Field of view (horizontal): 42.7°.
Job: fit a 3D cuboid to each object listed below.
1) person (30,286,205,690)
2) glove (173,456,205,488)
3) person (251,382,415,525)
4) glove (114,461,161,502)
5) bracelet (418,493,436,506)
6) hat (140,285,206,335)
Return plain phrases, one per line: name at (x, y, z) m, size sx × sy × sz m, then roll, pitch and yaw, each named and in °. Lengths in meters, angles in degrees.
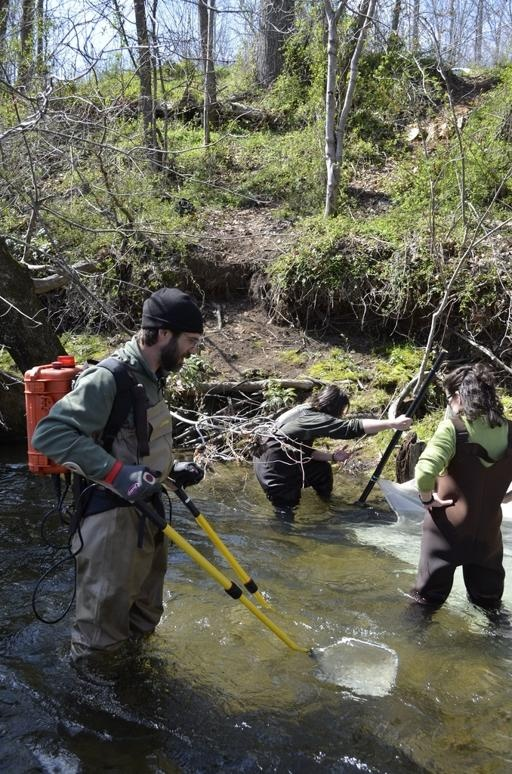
person at (-0.662, 0.523, 3.360) m, size 0.627 × 2.043 × 0.833 m, roll 5°, pitch 11°, yaw 15°
glove at (-0.360, 0.495, 3.755) m, size 0.186 × 0.068 × 0.126 m, roll 18°, pitch 33°, yaw -26°
person at (0.583, 0.609, 6.006) m, size 0.743 × 1.242 × 1.377 m, roll -3°, pitch 11°, yaw -26°
glove at (-0.542, 0.437, 2.970) m, size 0.206 × 0.138 × 0.135 m, roll 0°, pitch 10°, yaw -11°
bracelet at (1.055, 0.705, 4.025) m, size 0.085 × 0.032 × 0.073 m, roll -33°, pitch 19°, yaw -16°
hat at (-0.406, -0.374, 3.336) m, size 0.293 × 0.209 × 0.207 m, roll 20°, pitch 16°, yaw -14°
